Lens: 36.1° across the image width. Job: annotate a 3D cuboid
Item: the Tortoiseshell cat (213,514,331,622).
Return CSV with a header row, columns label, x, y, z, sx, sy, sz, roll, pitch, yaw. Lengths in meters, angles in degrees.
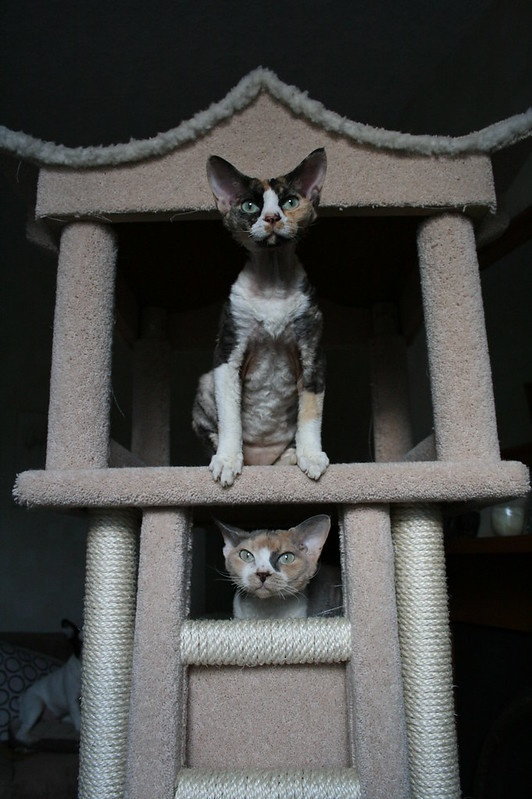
label,x,y,z,sx,sy,sz,roll,pitch,yaw
Tortoiseshell cat,0.024,0.340,1.633,0.237,0.230,0.278,-2,-4,13
